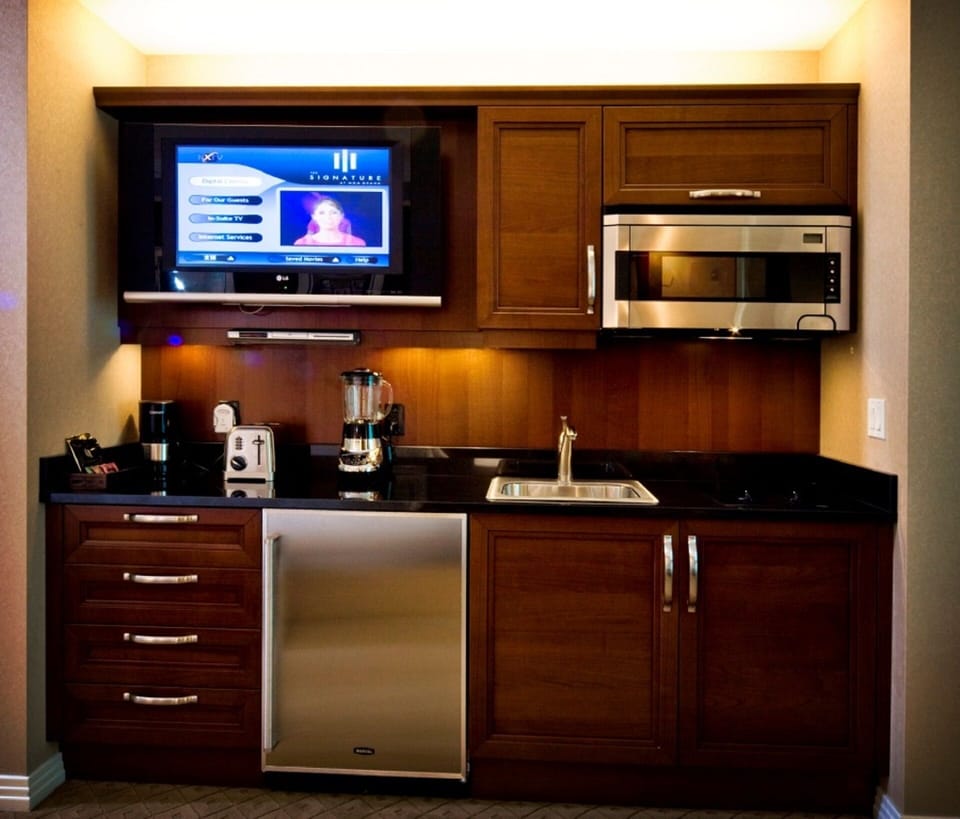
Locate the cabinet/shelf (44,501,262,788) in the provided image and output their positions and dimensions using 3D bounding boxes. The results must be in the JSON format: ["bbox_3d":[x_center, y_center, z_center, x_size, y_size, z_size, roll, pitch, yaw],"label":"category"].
[{"bbox_3d":[-1.125,0.761,3.777,0.684,0.995,0.640,3,9,-6],"label":"cabinet/shelf"}]

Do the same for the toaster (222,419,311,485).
[{"bbox_3d":[-0.852,0.159,3.816,0.220,0.209,0.148,-1,-1,13],"label":"toaster"}]

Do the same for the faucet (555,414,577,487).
[{"bbox_3d":[0.326,0.147,3.813,0.074,0.238,0.073,5,8,36],"label":"faucet"}]

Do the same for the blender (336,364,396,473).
[{"bbox_3d":[-0.415,0.034,3.918,0.173,0.379,0.319,-1,3,17],"label":"blender"}]
